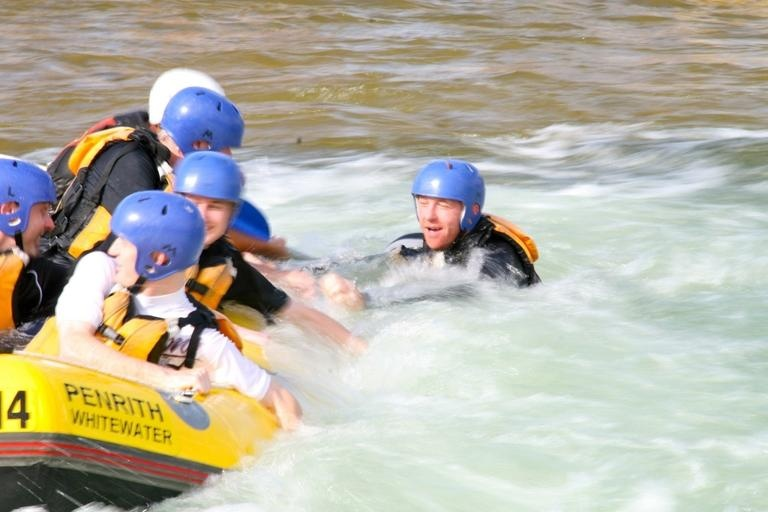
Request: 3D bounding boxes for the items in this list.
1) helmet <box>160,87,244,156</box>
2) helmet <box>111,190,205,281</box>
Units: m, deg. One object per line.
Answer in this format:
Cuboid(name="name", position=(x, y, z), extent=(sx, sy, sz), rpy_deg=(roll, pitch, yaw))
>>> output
Cuboid(name="helmet", position=(-1.409, -1.043, 6.833), extent=(0.585, 0.497, 0.444), rpy_deg=(-14, 32, -21))
Cuboid(name="helmet", position=(-1.452, -0.133, 5.701), extent=(0.575, 0.556, 0.389), rpy_deg=(-11, 32, -16))
